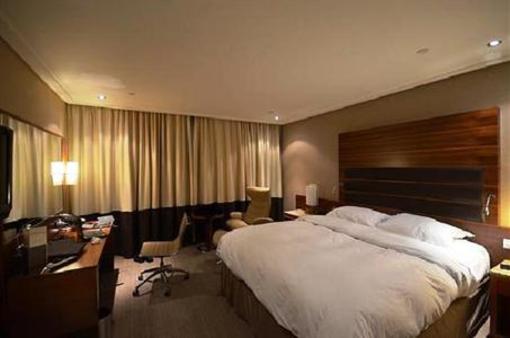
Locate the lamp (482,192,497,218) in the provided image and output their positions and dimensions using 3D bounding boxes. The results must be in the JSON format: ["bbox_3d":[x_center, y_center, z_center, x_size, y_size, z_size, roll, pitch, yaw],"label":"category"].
[{"bbox_3d":[3.142,0.474,4.269,0.109,0.327,0.118,-6,19,-28],"label":"lamp"}]

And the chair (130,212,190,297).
[{"bbox_3d":[-1.477,1.303,5.275,1.024,1.308,1.052,3,1,-16],"label":"chair"}]

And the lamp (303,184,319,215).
[{"bbox_3d":[1.124,0.607,6.245,0.158,0.722,0.545,-1,2,-21],"label":"lamp"}]

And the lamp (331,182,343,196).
[{"bbox_3d":[1.538,0.362,5.952,0.078,0.192,0.301,15,-46,-13],"label":"lamp"}]

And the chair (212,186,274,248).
[{"bbox_3d":[-0.278,0.917,5.993,1.081,1.183,0.899,3,2,-39],"label":"chair"}]

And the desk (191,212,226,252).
[{"bbox_3d":[-0.919,1.242,6.141,0.562,0.618,0.565,2,-5,-20],"label":"desk"}]

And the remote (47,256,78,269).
[{"bbox_3d":[-2.285,1.111,3.727,0.074,0.080,0.335,-39,-12,20],"label":"remote"}]
